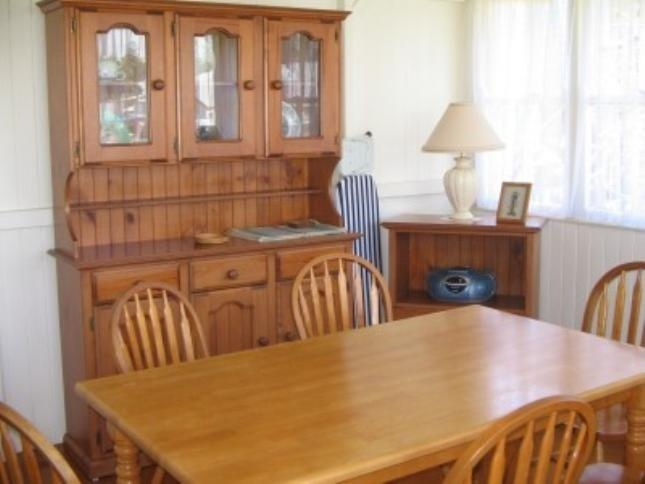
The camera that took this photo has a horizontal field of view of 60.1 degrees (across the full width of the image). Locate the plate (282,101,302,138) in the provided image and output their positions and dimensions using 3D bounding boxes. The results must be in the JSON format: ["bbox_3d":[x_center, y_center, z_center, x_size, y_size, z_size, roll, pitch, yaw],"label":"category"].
[{"bbox_3d":[-0.193,-0.746,3.442,0.065,0.179,0.186,-3,8,-13],"label":"plate"}]

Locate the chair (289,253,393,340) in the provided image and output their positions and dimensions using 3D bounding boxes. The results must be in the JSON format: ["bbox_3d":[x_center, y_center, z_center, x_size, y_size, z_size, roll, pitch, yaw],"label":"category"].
[{"bbox_3d":[0.076,0.286,2.936,0.411,0.542,0.416,-12,15,-21],"label":"chair"}]
